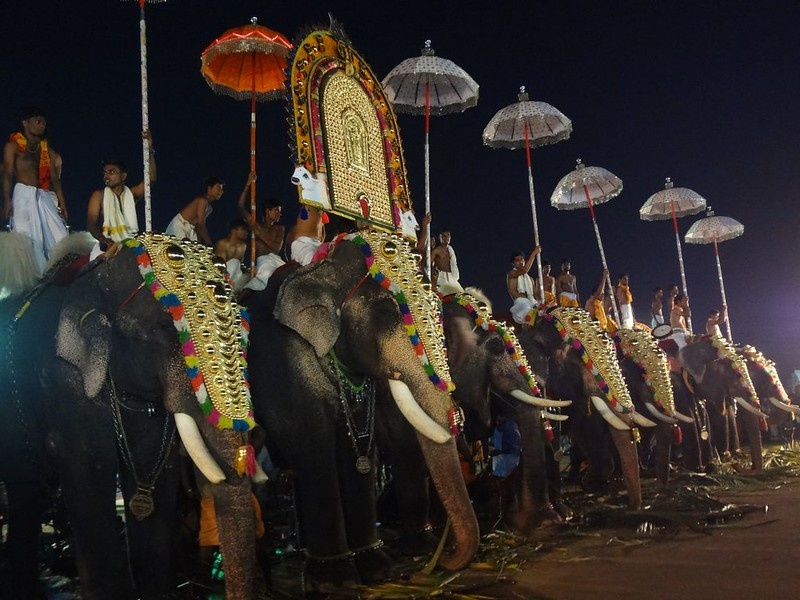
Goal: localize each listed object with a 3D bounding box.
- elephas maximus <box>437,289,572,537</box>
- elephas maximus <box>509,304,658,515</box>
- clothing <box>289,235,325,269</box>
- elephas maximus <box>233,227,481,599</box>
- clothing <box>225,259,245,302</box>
[{"bbox_3d":[0.750,0.737,5.631,0.935,1.694,0.840,-6,5,-18],"label":"elephas maximus"},{"bbox_3d":[1.502,0.851,6.316,0.920,1.702,0.903,-4,0,0],"label":"elephas maximus"},{"bbox_3d":[-0.618,-0.340,4.889,0.226,0.169,0.109,-42,-5,-37],"label":"clothing"},{"bbox_3d":[-0.241,0.657,4.841,1.347,2.164,1.463,2,-2,-9],"label":"elephas maximus"},{"bbox_3d":[-1.089,-0.129,4.909,0.159,0.123,0.398,27,10,-20],"label":"clothing"}]
